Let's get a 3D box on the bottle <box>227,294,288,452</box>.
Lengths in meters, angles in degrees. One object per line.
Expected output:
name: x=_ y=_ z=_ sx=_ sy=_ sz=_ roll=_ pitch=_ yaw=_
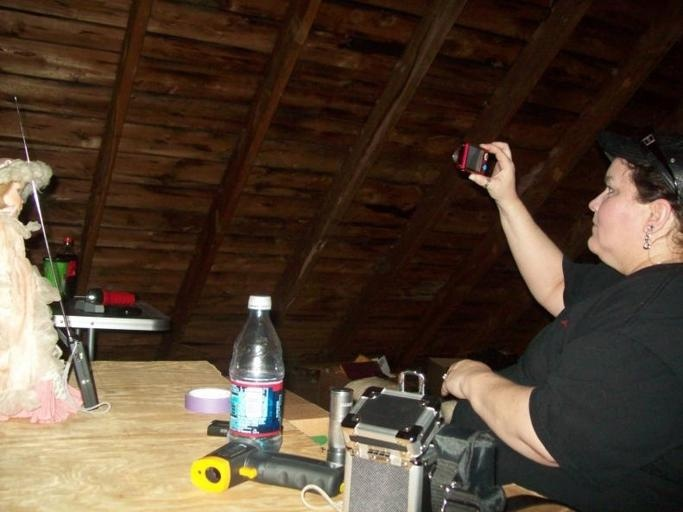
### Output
bottle: x=-0.185 y=0.235 z=1.133 sx=0.124 sy=0.329 sz=0.391 roll=-1 pitch=7 yaw=-11

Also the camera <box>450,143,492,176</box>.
camera: x=0.449 y=-0.338 z=1.803 sx=0.166 sy=0.104 sz=0.059 roll=16 pitch=-6 yaw=-30
